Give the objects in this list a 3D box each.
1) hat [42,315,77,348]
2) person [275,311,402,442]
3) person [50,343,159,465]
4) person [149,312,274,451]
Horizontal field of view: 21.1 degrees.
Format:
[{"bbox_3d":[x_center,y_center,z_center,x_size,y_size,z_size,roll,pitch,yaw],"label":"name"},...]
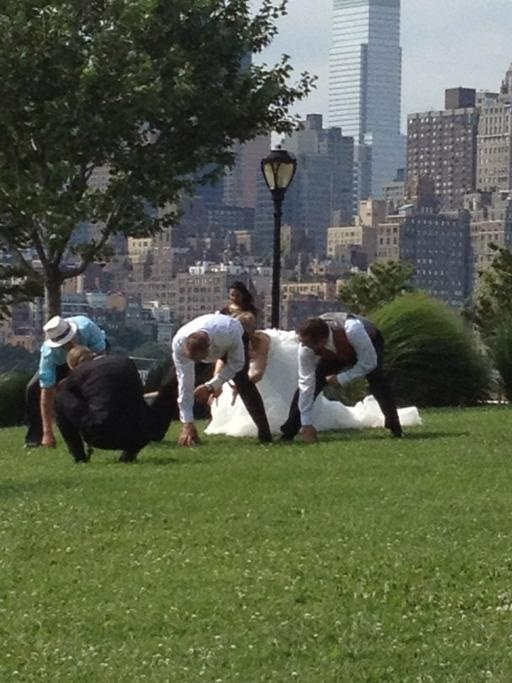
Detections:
[{"bbox_3d":[-1.688,-0.112,11.948,0.282,0.245,0.574,0,9,-8],"label":"hat"},{"bbox_3d":[0.691,0.264,11.422,1.000,1.083,0.708,-7,13,-13],"label":"person"},{"bbox_3d":[-1.180,0.523,10.360,0.698,0.910,0.516,4,10,20],"label":"person"},{"bbox_3d":[-0.332,0.259,11.459,0.614,1.142,2.090,-5,-1,8],"label":"person"}]
